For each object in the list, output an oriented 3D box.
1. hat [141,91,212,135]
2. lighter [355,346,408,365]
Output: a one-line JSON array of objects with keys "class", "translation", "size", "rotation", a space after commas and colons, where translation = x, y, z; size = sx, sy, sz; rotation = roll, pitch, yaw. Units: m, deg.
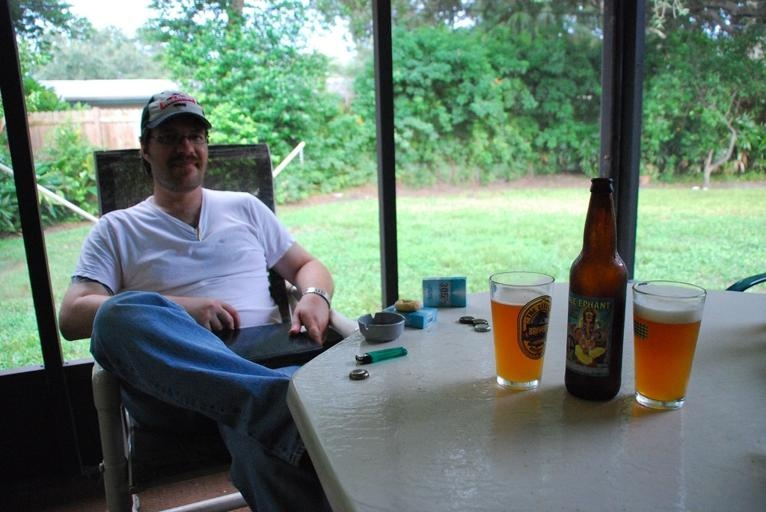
[{"class": "hat", "translation": [-0.835, -0.585, 2.420], "size": [0.256, 0.172, 0.325], "rotation": [-13, 8, -36]}, {"class": "lighter", "translation": [0.000, 0.242, 1.472], "size": [0.090, 0.019, 0.051], "rotation": [-4, 6, -10]}]
